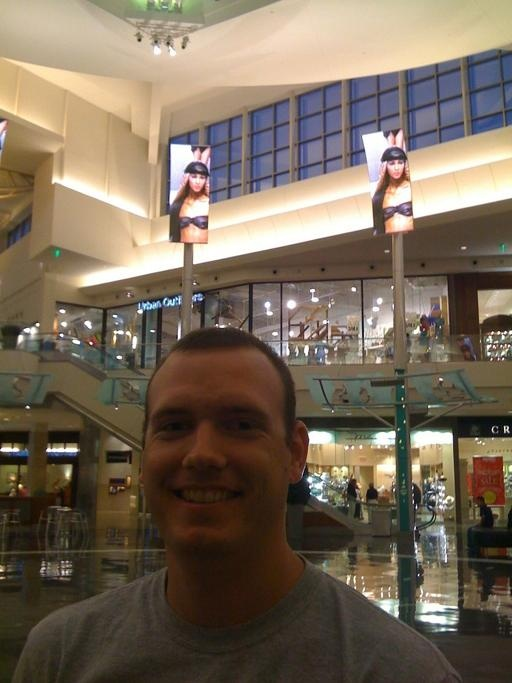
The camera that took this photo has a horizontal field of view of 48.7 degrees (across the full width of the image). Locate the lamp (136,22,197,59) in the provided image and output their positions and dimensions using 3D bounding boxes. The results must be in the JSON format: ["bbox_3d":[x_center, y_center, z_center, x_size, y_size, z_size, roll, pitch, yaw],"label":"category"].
[{"bbox_3d":[-2.616,-8.765,16.355,1.351,0.418,0.929,0,-8,-31],"label":"lamp"}]

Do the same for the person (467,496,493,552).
[{"bbox_3d":[4.942,3.776,12.422,0.553,0.921,0.623,-4,-15,23],"label":"person"}]
